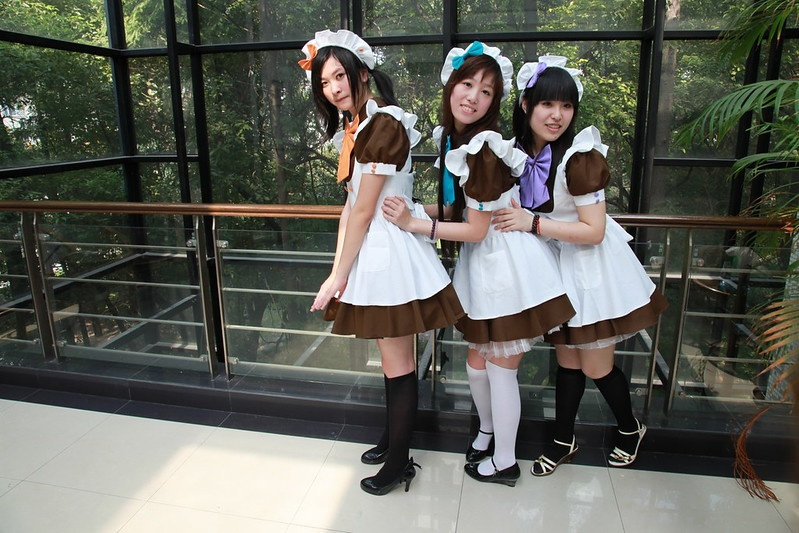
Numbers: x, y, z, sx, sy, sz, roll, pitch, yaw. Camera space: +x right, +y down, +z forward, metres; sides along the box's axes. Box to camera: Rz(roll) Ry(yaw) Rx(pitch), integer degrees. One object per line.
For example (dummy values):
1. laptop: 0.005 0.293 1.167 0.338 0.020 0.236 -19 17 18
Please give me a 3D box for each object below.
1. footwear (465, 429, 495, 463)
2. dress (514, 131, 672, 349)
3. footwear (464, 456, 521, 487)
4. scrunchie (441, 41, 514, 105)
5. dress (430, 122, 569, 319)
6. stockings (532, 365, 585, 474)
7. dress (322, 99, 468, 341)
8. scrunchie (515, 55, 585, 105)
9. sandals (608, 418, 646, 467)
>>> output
1. footwear: 0.459 0.966 2.974 0.086 0.110 0.258 -5 5 34
2. dress: 0.965 -0.158 2.872 0.614 1.099 0.809 -19 17 -19
3. footwear: 0.495 1.084 2.913 0.295 0.121 0.118 6 10 11
4. scrunchie: 0.376 -0.929 2.620 0.325 0.264 0.165 -2 18 -1
5. dress: 0.505 -0.213 2.615 0.688 0.830 0.527 -11 19 48
6. stockings: 0.870 0.850 2.946 0.383 0.679 0.164 -14 33 -5
7. dress: 0.037 -0.236 3.224 0.894 1.392 1.204 -1 8 -6
8. scrunchie: 0.725 -0.899 2.617 0.298 0.207 0.151 0 18 7
9. sandals: 1.237 0.986 2.976 0.107 0.283 0.142 19 9 -31
